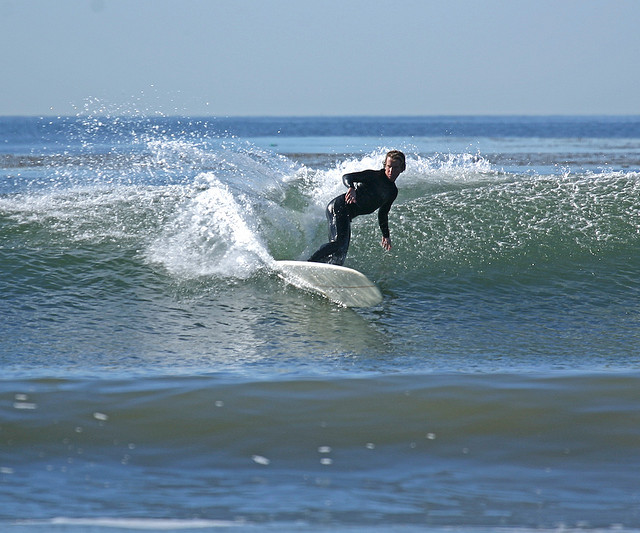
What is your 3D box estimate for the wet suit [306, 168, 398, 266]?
[{"bbox_3d":[0.388,-0.570,12.928,1.083,1.208,0.433,-3,27,10],"label":"wet suit"}]
